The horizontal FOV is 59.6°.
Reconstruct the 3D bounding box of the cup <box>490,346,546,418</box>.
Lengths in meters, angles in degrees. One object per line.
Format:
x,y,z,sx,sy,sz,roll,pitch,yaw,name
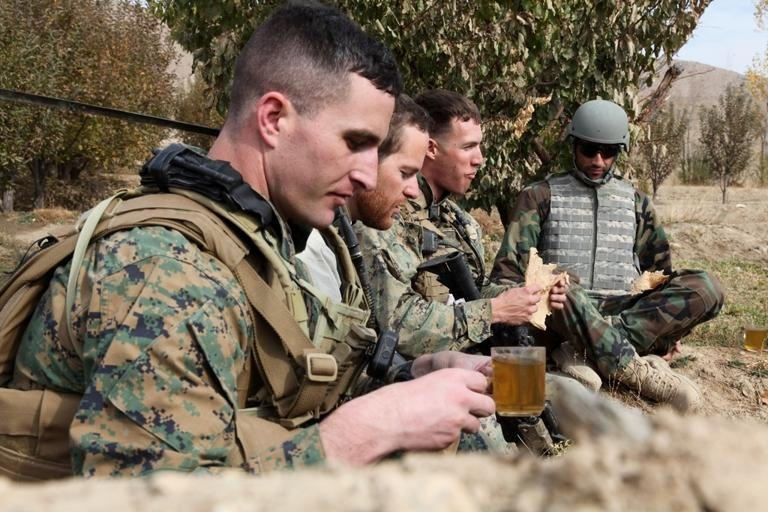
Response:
0.519,0.486,2.567,0.208,0.274,0.208,-5,-8,-1,cup
